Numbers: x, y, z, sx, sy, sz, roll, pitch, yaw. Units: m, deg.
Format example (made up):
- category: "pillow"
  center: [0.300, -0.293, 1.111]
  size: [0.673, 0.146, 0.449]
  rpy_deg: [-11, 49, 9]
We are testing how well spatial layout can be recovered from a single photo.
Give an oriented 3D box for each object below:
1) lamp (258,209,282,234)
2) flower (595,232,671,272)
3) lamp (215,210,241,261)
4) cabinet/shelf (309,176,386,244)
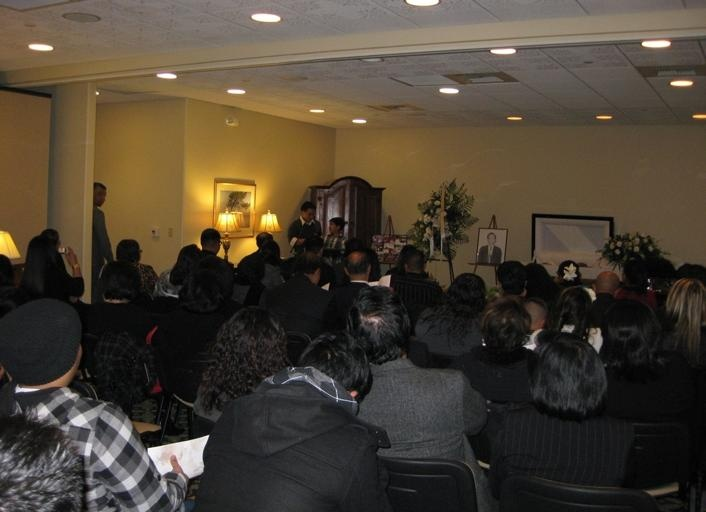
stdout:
- category: "lamp"
  center: [-1.447, -0.611, 9.040]
  size: [0.437, 0.471, 0.438]
  rpy_deg: [-1, 7, -2]
- category: "flower"
  center: [4.327, -0.116, 7.639]
  size: [1.023, 0.597, 1.012]
  rpy_deg: [-1, 5, -25]
- category: "lamp"
  center: [-2.082, -0.260, 8.307]
  size: [0.478, 0.917, 0.474]
  rpy_deg: [1, 6, 4]
- category: "cabinet/shelf"
  center: [-0.138, -0.823, 9.425]
  size: [1.286, 1.999, 0.594]
  rpy_deg: [-3, 6, -33]
